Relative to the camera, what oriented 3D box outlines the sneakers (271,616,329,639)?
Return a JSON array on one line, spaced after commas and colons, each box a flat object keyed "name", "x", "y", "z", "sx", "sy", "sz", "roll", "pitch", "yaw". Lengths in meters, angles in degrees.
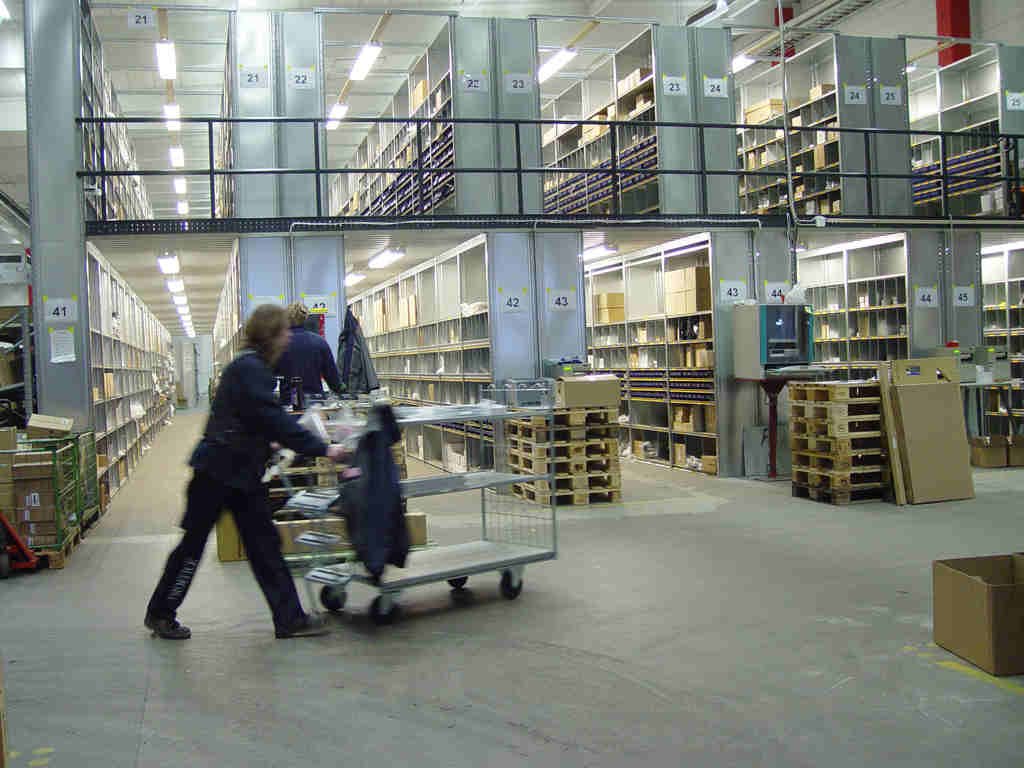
[{"name": "sneakers", "x": -1.342, "y": 1.571, "z": 5.078, "sx": 0.287, "sy": 0.118, "sz": 0.145, "roll": -2, "pitch": 2, "yaw": -12}]
